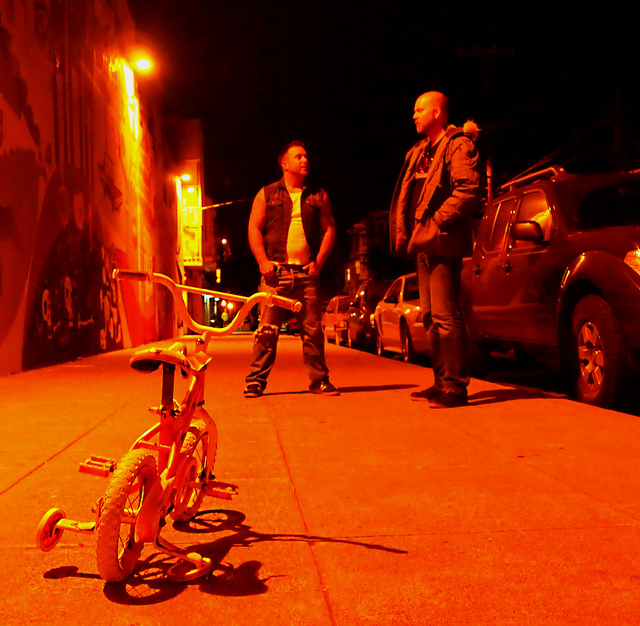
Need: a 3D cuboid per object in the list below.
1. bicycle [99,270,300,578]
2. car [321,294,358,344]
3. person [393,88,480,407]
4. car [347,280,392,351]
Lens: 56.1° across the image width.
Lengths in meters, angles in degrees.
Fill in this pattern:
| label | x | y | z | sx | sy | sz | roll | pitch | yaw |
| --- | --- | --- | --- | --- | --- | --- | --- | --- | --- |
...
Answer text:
| label | x | y | z | sx | sy | sz | roll | pitch | yaw |
| --- | --- | --- | --- | --- | --- | --- | --- | --- | --- |
| bicycle | -0.522 | 0.407 | 2.226 | 0.519 | 1.015 | 1.054 | 9 | 2 | 8 |
| car | 0.758 | 0.169 | 21.781 | 0.909 | 1.041 | 1.807 | 0 | -2 | -16 |
| person | 1.010 | -0.559 | 5.170 | 0.456 | 1.802 | 0.958 | 1 | 1 | -27 |
| car | 1.399 | -0.037 | 16.134 | 0.944 | 1.113 | 1.810 | -1 | -3 | -6 |
